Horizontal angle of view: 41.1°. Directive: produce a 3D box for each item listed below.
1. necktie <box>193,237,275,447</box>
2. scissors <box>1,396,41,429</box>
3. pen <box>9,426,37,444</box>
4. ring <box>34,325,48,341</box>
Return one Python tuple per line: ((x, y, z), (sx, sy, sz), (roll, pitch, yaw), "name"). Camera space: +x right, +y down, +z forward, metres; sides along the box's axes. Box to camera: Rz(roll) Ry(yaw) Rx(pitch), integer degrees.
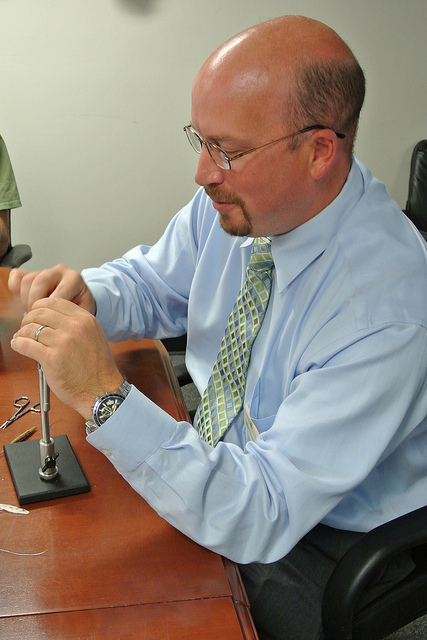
((0.051, 0.069, 1.209), (0.188, 0.442, 0.159), (-2, 30, -18), "necktie")
((-0.372, 0.173, 1.073), (0.035, 0.003, 0.061), (23, 31, 27), "scissors")
((-0.336, 0.200, 1.004), (0.017, 0.016, 0.063), (19, 32, 11), "pen")
((-0.268, 0.021, 0.880), (0.004, 0.018, 0.019), (25, 13, 20), "ring")
